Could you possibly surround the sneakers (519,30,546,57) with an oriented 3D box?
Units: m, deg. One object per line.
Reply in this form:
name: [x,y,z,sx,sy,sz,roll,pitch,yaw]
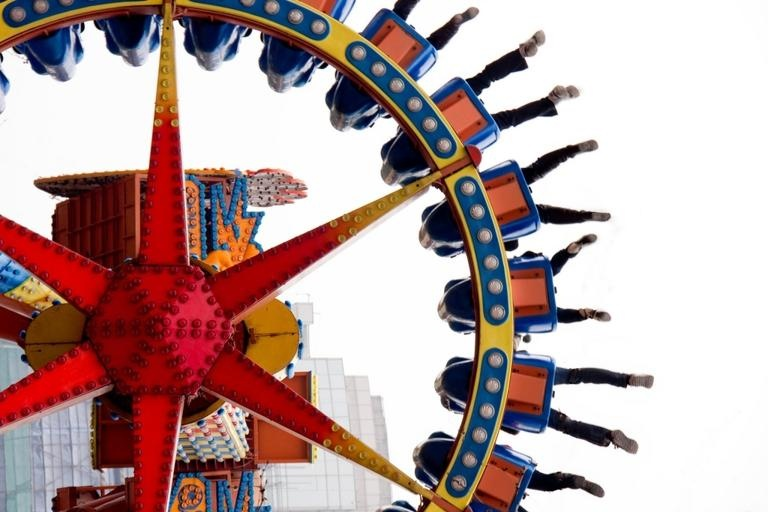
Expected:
sneakers: [2.188,-3.152,17.522,0.232,0.401,0.227,-29,82,-32]
